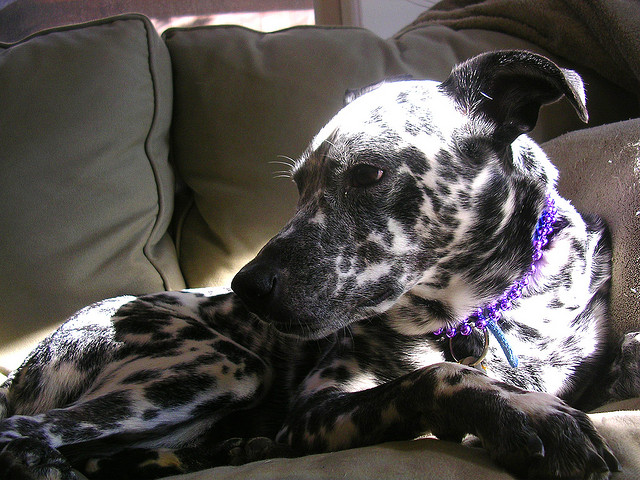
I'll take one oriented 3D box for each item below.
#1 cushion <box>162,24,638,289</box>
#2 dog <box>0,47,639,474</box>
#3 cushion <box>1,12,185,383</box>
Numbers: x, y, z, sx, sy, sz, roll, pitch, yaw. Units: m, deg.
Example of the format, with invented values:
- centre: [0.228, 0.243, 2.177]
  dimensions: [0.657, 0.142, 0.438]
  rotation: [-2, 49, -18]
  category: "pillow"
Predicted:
- centre: [0.115, -0.390, 2.468]
  dimensions: [1.212, 1.153, 0.373]
  rotation: [-1, -7, -5]
  category: "cushion"
- centre: [-0.140, 0.153, 2.071]
  dimensions: [1.036, 0.879, 1.736]
  rotation: [8, -18, -36]
  category: "dog"
- centre: [-0.765, -0.176, 2.077]
  dimensions: [0.602, 0.991, 0.673]
  rotation: [-5, 27, -11]
  category: "cushion"
